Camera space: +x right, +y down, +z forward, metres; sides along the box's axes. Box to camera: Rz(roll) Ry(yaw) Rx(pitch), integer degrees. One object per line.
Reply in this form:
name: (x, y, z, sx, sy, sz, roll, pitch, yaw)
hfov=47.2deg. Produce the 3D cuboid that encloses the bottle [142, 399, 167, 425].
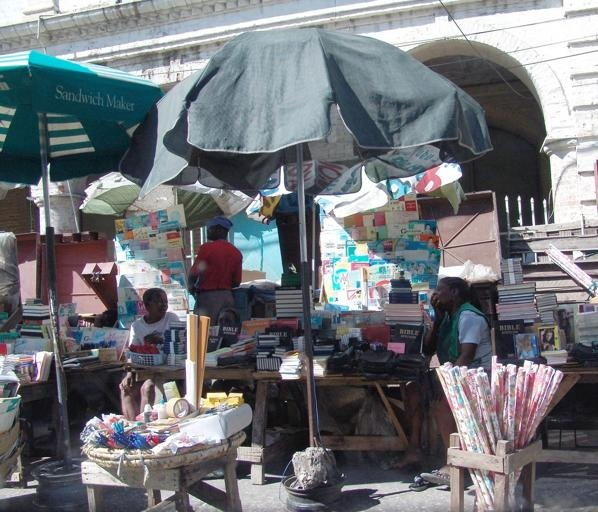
bottle: (-0.992, 1.100, 4.864, 0.173, 0.192, 0.102, -1, -3, 6)

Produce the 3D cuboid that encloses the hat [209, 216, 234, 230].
hat: (-0.963, -0.423, 8.719, 0.262, 0.109, 0.175, 3, -5, -30)

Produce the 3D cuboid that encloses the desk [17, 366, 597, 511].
desk: (-0.113, 1.495, 5.329, 4.654, 0.824, 1.898, -3, 1, 8)

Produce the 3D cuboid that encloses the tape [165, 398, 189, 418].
tape: (-0.846, 1.056, 4.764, 0.126, 0.132, 0.046, -29, 4, 4)

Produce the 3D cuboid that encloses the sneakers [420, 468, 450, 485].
sneakers: (1.126, 1.822, 5.677, 0.250, 0.099, 0.105, 7, 46, 17)

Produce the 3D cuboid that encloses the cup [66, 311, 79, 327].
cup: (-2.761, 0.776, 8.448, 0.153, 0.183, 0.163, 1, -3, 0)
